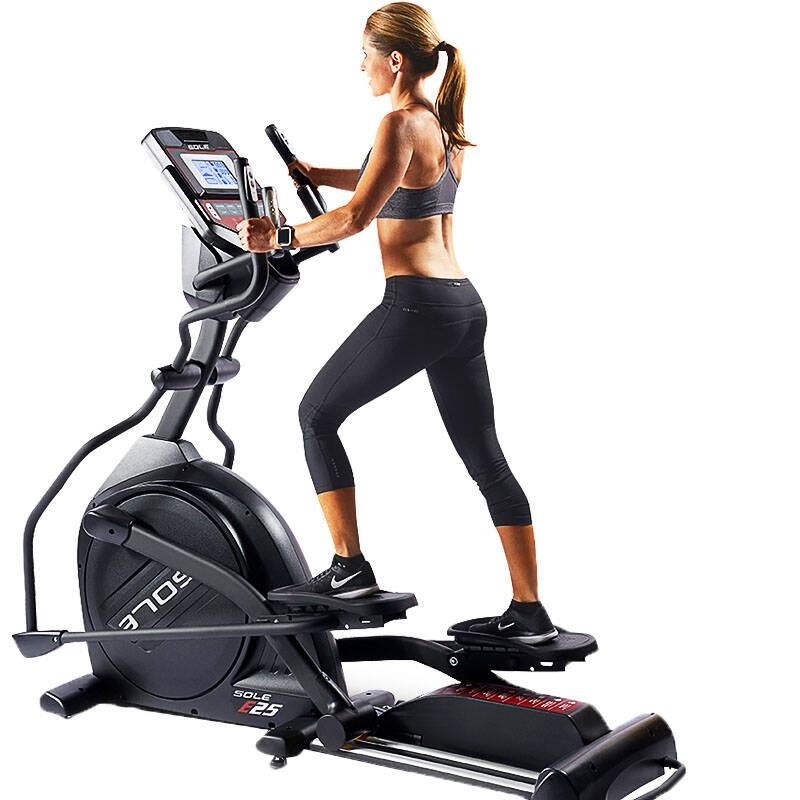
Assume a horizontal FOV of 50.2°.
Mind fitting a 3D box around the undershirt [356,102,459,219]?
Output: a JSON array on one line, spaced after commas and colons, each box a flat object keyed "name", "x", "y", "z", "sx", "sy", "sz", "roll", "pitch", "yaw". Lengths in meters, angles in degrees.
[{"name": "undershirt", "x": 0.059, "y": -0.654, "z": 2.564, "sx": 0.263, "sy": 0.234, "sz": 0.227, "roll": -3, "pitch": -41, "yaw": -3}]

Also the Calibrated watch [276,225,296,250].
[{"name": "Calibrated watch", "x": -0.335, "y": -0.474, "z": 2.493, "sx": 0.061, "sy": 0.064, "sz": 0.071, "roll": 1, "pitch": -4, "yaw": 14}]
